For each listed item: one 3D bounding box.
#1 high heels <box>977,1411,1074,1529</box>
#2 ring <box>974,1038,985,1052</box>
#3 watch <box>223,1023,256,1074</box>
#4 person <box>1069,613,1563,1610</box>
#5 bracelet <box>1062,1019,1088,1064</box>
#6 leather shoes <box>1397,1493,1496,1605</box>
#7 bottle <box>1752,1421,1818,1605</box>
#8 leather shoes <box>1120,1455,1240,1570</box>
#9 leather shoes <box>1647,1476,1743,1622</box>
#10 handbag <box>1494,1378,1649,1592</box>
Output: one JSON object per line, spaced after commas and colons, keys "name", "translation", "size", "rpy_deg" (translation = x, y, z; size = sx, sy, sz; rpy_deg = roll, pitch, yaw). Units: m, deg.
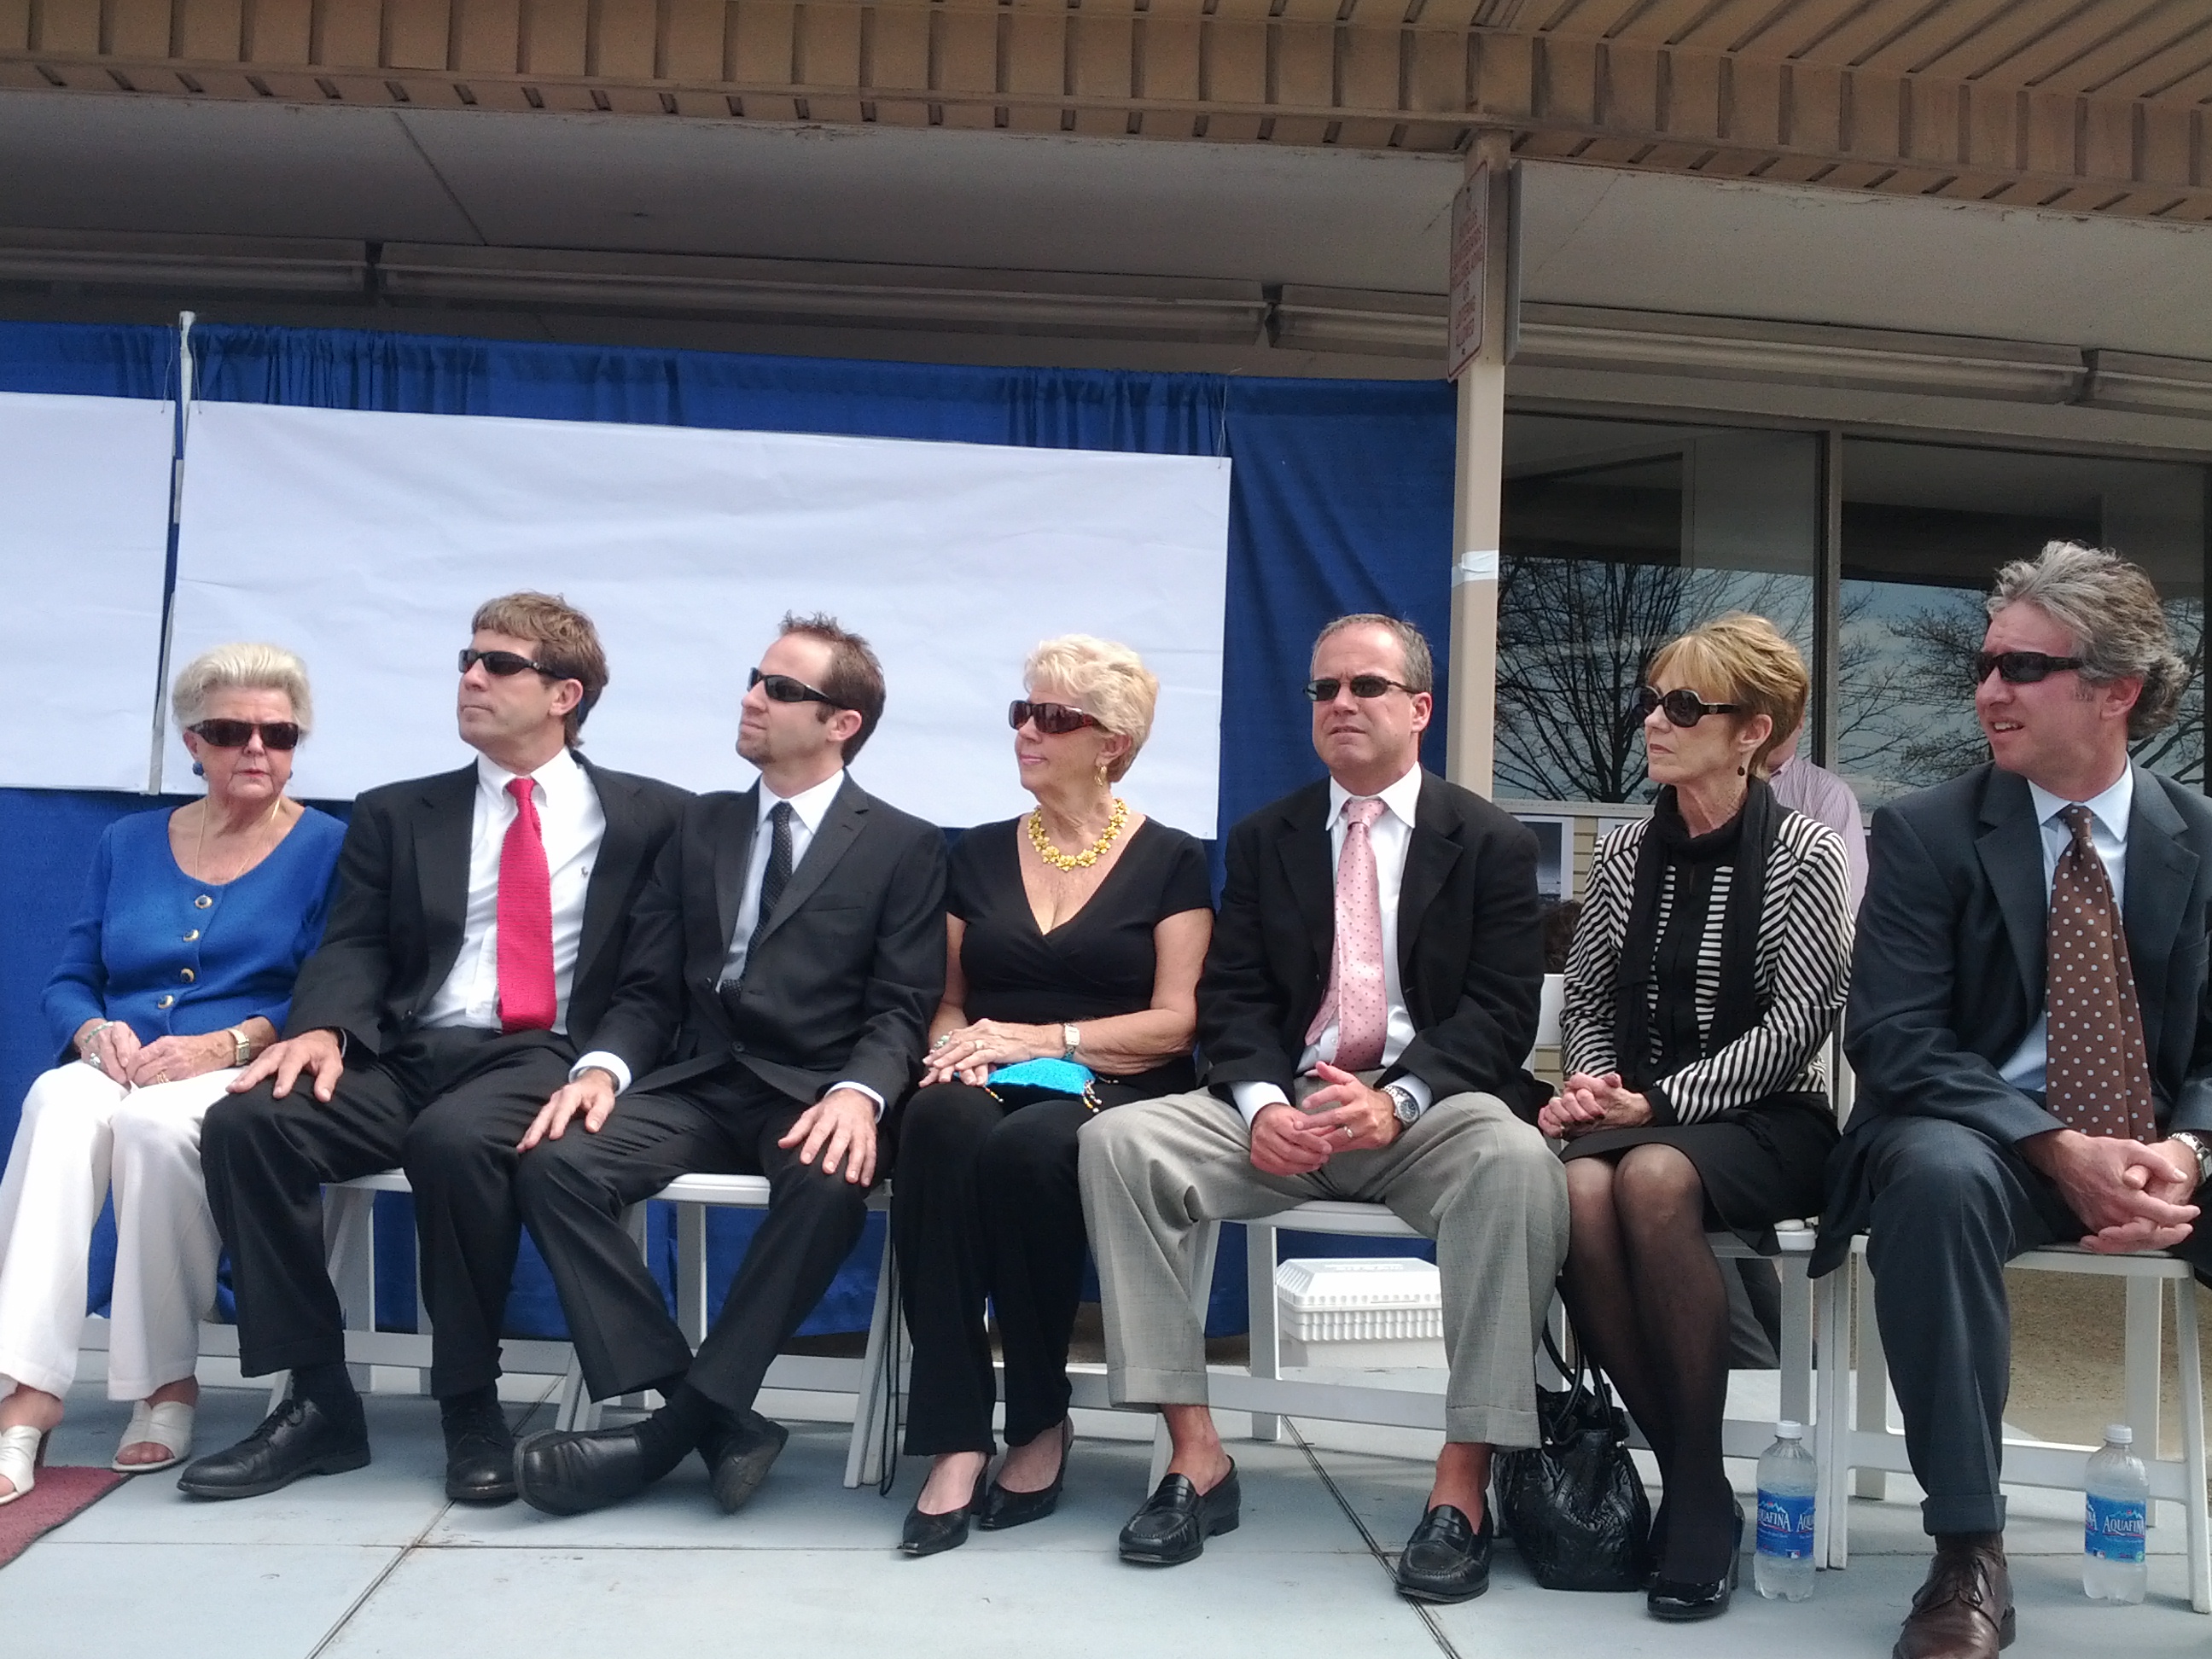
{"name": "high heels", "translation": [-0.158, 1.469, 6.501], "size": [0.107, 0.128, 0.314], "rpy_deg": [-2, -10, 20]}
{"name": "ring", "translation": [-0.286, 0.491, 6.668], "size": [0.023, 0.020, 0.006], "rpy_deg": [-1, -25, -9]}
{"name": "watch", "translation": [-2.026, 0.505, 6.897], "size": [0.066, 0.083, 0.034], "rpy_deg": [2, -4, -27]}
{"name": "person", "translation": [0.469, 0.540, 6.482], "size": [1.041, 1.891, 1.020], "rpy_deg": [1, 15, -1]}
{"name": "bracelet", "translation": [-0.057, 0.485, 6.713], "size": [0.068, 0.070, 0.069], "rpy_deg": [-2, 42, 7]}
{"name": "leather shoes", "translation": [0.727, 1.514, 6.154], "size": [0.230, 0.161, 0.184], "rpy_deg": [-1, 14, -7]}
{"name": "bottle", "translation": [1.440, 1.435, 6.182], "size": [0.138, 0.328, 0.222], "rpy_deg": [5, 15, 13]}
{"name": "leather shoes", "translation": [0.165, 1.488, 6.295], "size": [0.118, 0.119, 0.314], "rpy_deg": [-7, -11, 35]}
{"name": "leather shoes", "translation": [1.236, 1.487, 6.137], "size": [0.190, 0.234, 0.305], "rpy_deg": [4, 14, 11]}
{"name": "handbag", "translation": [0.983, 1.395, 6.201], "size": [0.205, 0.348, 0.389], "rpy_deg": [5, -11, -19]}
